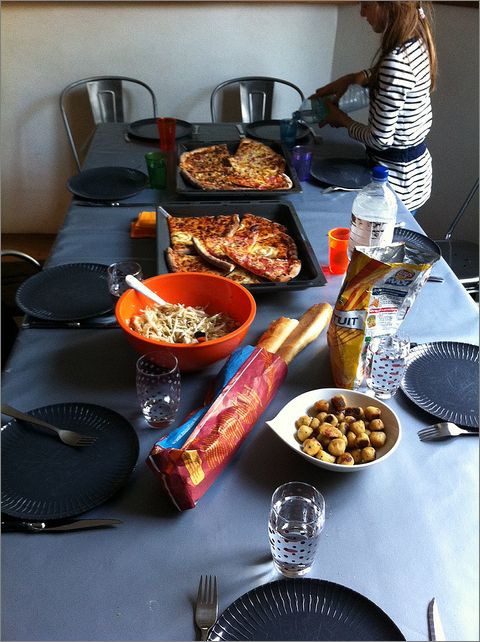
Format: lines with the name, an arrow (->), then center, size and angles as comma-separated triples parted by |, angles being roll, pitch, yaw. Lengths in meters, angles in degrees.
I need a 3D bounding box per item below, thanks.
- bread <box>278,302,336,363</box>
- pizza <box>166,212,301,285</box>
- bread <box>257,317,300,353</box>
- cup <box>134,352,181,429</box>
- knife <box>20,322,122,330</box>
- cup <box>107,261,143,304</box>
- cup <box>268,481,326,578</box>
bread -> 0.138, 0.004, 1.066 | 0.051, 0.030, 0.240 | 27, 36, 10
pizza -> -0.014, -0.196, 1.369 | 0.259, 0.036, 0.264 | 1, 32, -1
bread -> 0.070, 0.025, 1.006 | 0.049, 0.019, 0.082 | 12, 42, 37
cup -> -0.129, 0.112, 0.841 | 0.092, 0.129, 0.085 | 0, 35, 0
knife -> -0.351, 0.010, 1.090 | 0.199, 0.019, 0.015 | 0, -3, -4
cup -> -0.227, -0.090, 1.134 | 0.082, 0.081, 0.080 | 4, 38, -3
cup -> 0.068, 0.248, 0.642 | 0.062, 0.078, 0.094 | 4, 36, 7
